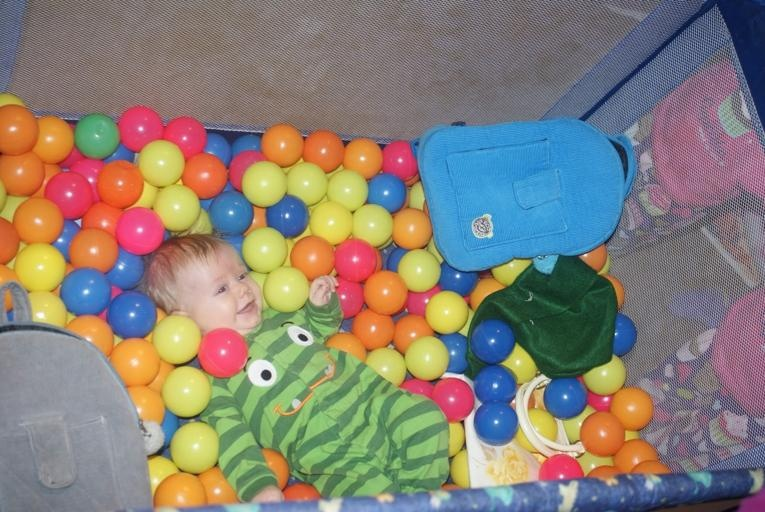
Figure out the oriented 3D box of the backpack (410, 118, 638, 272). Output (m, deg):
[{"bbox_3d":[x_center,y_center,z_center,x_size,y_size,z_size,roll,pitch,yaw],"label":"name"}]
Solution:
[{"bbox_3d":[0.624,-0.292,3.375,0.888,0.345,0.597,-2,71,-9],"label":"backpack"}]
